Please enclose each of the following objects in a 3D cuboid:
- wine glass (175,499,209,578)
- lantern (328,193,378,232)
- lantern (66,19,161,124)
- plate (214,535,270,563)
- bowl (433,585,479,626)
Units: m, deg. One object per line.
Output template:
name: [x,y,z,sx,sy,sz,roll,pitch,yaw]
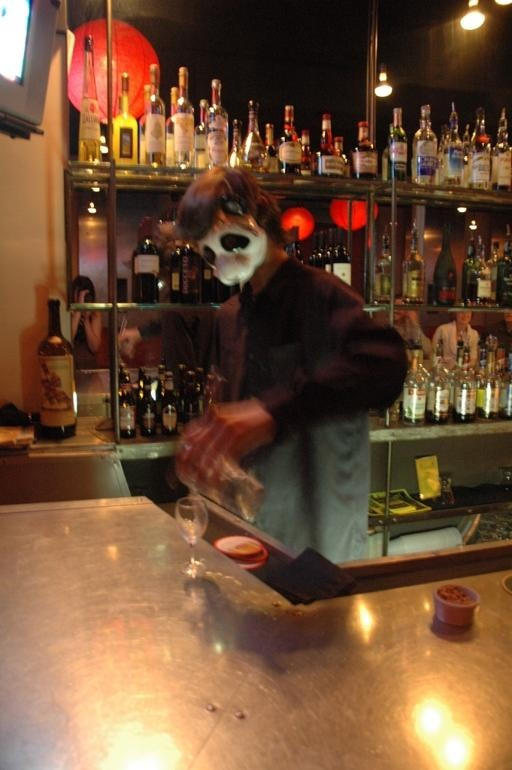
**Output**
wine glass: [-0.118,0.256,1.097,0.052,0.122,0.223,1,5,-7]
lantern: [0.491,-0.792,2.949,0.191,0.238,0.194,-4,4,-20]
lantern: [-0.561,-1.246,2.399,0.327,0.464,0.450,-1,5,-21]
plate: [-0.031,0.312,1.191,0.102,0.024,0.175,1,5,-8]
bowl: [0.293,0.323,0.894,0.060,0.041,0.082,3,5,19]
